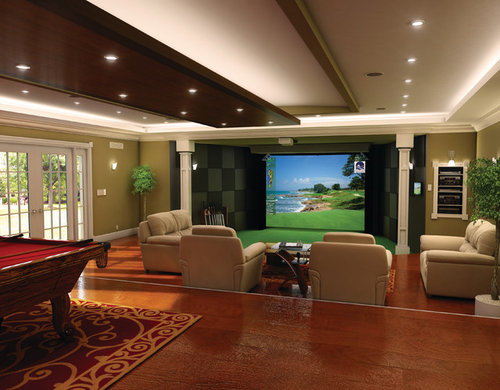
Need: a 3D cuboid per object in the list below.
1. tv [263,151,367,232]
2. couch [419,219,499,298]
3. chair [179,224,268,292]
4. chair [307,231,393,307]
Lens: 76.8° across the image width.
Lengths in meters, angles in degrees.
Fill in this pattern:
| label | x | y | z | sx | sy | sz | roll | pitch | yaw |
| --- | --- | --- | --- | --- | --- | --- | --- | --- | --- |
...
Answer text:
| label | x | y | z | sx | sy | sz | roll | pitch | yaw |
| --- | --- | --- | --- | --- | --- | --- | --- | --- | --- |
| tv | 2.428 | -0.152 | 11.055 | 2.782 | 2.001 | 0.027 | 0 | 0 | 17 |
| couch | 3.250 | 0.977 | 5.242 | 1.109 | 1.284 | 2.045 | 1 | 0 | 22 |
| chair | -0.416 | 0.835 | 5.058 | 1.161 | 0.972 | 1.072 | -1 | -1 | 19 |
| chair | 1.429 | 0.879 | 4.487 | 1.056 | 0.766 | 0.999 | 0 | -3 | 17 |
